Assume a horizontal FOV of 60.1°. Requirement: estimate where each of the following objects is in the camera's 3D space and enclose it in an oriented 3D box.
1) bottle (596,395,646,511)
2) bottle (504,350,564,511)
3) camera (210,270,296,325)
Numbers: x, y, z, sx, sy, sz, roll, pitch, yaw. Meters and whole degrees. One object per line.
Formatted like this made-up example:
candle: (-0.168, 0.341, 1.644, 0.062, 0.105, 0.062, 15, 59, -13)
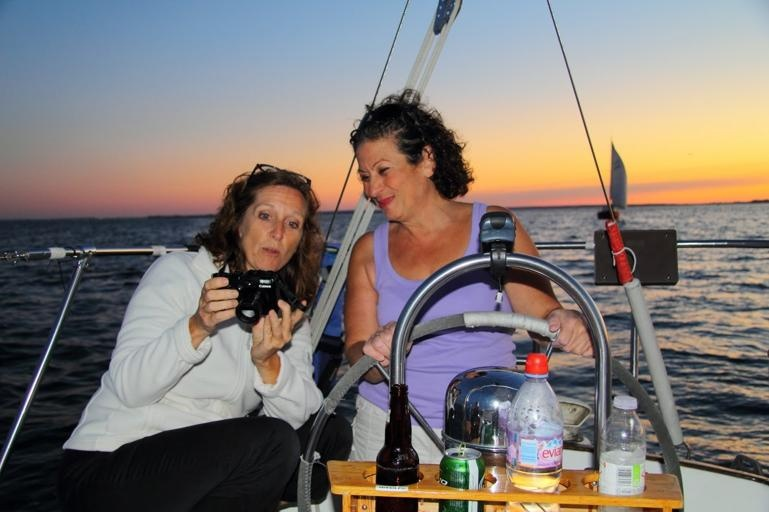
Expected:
bottle: (0.961, 0.744, 2.673, 0.176, 0.381, 0.213, 2, 9, 21)
bottle: (0.600, 0.657, 2.666, 0.224, 0.545, 0.174, 0, 9, 11)
camera: (-0.611, 0.191, 3.113, 0.357, 0.169, 0.216, -2, 0, 4)
